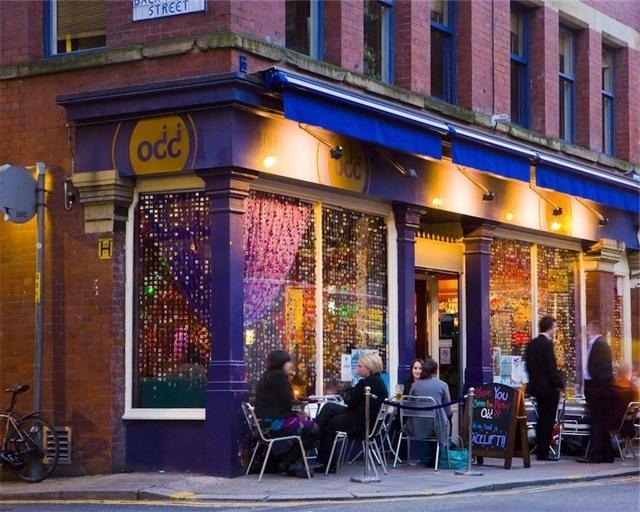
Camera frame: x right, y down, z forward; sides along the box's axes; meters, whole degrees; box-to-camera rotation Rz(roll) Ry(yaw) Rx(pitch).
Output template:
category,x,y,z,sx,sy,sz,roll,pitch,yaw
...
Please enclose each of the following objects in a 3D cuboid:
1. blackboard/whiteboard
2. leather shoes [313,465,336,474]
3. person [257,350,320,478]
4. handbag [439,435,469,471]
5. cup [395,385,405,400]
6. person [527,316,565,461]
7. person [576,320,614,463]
category,x,y,z,sx,sy,sz,roll,pitch,yaw
blackboard/whiteboard,2.594,2.476,18.617,0.986,1.312,0.661,-6,-13,41
leather shoes,0.095,3.055,17.901,0.359,0.156,0.122,7,-5,-7
person,-0.478,1.992,17.341,0.840,1.380,0.348,1,-9,-3
handbag,2.050,2.960,18.744,0.512,0.522,0.358,0,-6,9
cup,1.256,2.167,20.025,0.180,0.286,0.180,1,-7,0
person,3.671,2.105,20.074,0.621,2.326,0.510,-4,-10,23
person,4.475,2.133,19.927,0.526,2.285,0.680,-2,-10,13
